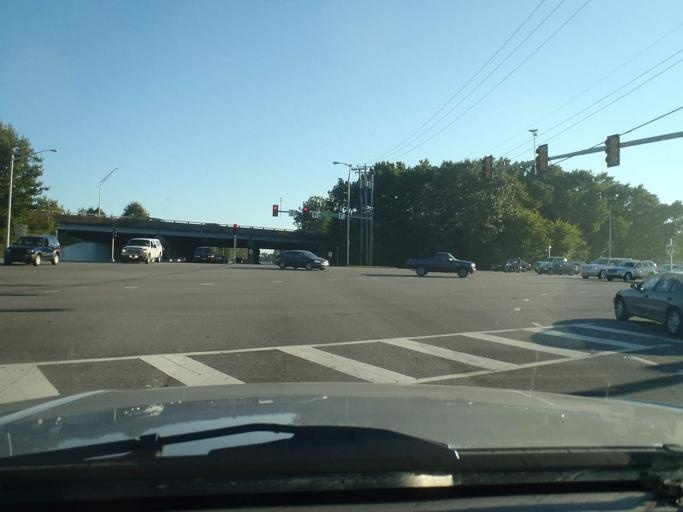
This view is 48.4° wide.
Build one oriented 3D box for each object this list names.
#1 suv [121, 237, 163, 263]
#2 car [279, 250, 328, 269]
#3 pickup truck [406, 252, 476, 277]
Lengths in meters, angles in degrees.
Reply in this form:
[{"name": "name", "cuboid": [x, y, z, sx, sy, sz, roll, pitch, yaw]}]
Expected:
[{"name": "suv", "cuboid": [-12.872, -0.481, 49.071, 1.573, 1.111, 2.761, -1, -7, 0]}, {"name": "car", "cuboid": [-2.454, 0.316, 48.385, 2.876, 1.058, 1.352, -3, -4, 31]}, {"name": "pickup truck", "cuboid": [5.513, 0.481, 42.522, 3.399, 1.405, 1.718, 0, 2, -1]}]
